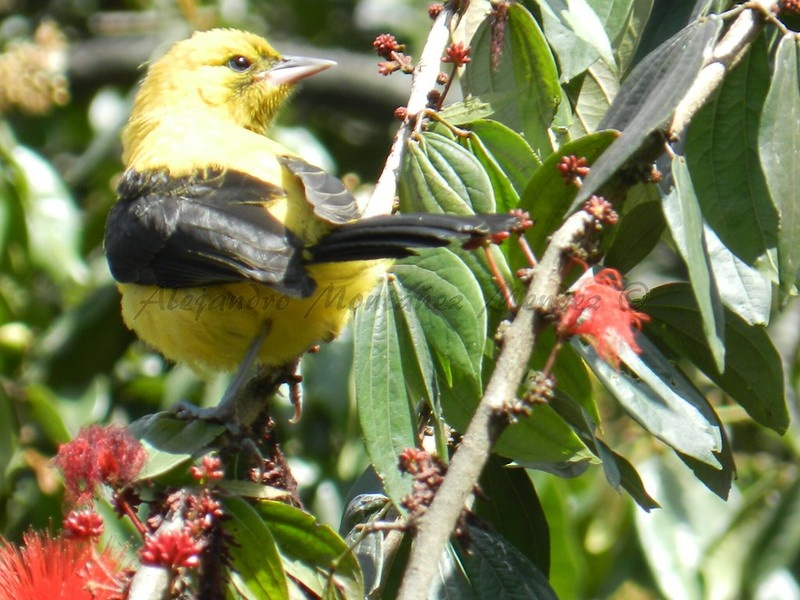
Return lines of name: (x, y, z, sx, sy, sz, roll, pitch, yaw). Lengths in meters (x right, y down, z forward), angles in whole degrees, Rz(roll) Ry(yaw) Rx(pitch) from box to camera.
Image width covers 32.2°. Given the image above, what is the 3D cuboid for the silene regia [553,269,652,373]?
silene regia: (0.743, 0.077, 5.106, 0.403, 0.398, 0.338, -2, 76, -2)
